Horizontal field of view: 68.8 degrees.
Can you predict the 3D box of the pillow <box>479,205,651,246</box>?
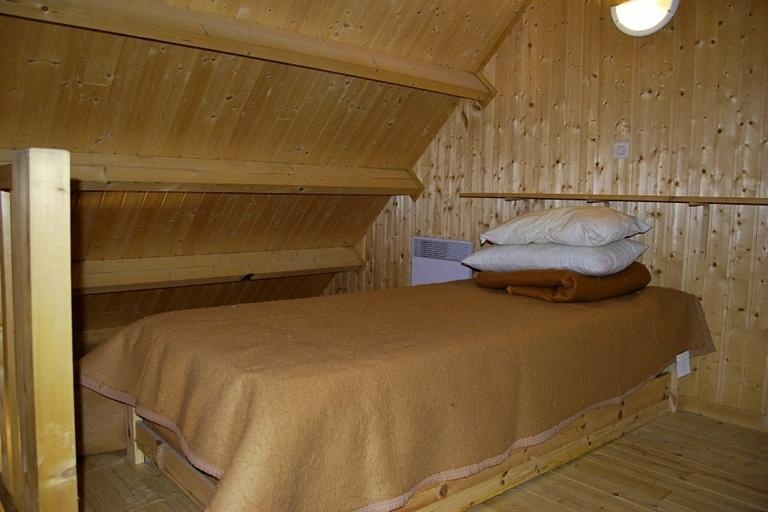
[{"bbox_3d":[1.008,-0.159,3.182,0.479,0.118,0.412,-5,2,37],"label":"pillow"}]
